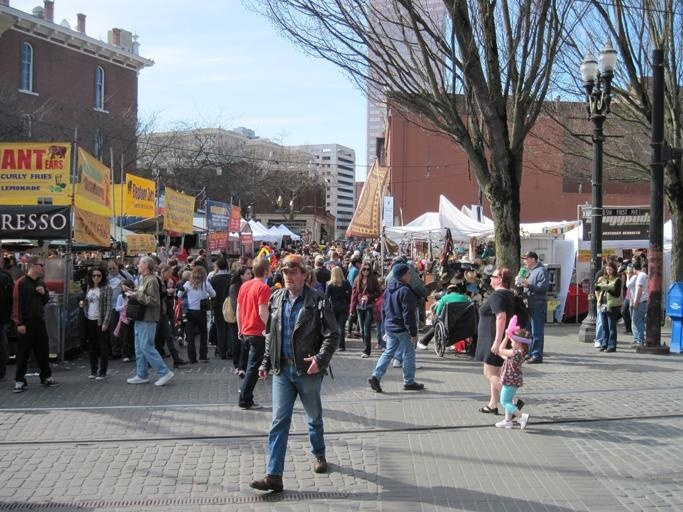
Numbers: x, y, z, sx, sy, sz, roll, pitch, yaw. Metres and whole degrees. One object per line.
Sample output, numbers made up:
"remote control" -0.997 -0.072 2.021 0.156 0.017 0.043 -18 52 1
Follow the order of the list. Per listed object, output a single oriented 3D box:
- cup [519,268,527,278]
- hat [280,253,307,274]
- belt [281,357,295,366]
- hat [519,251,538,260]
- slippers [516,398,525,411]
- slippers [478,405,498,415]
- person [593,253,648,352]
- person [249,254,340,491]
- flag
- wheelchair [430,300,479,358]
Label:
"cup" 3.909 0.382 18.816 0.091 0.165 0.149 10 8 33
"hat" -0.751 0.121 13.414 0.418 0.345 0.625 1 2 2
"belt" -0.727 1.460 11.849 0.101 0.076 0.141 8 -13 -24
"hat" 4.288 -0.009 19.992 0.356 0.207 0.241 0 -1 0
"slippers" 2.734 2.302 13.371 0.085 0.191 0.299 3 10 20
"slippers" 2.352 2.498 13.959 0.262 0.107 0.123 4 -4 16
"person" 6.195 1.078 19.377 0.816 2.843 0.938 0 0 25
"person" -0.577 1.553 11.869 1.083 3.082 1.008 -2 9 -10
"flag" 0.854 -1.516 26.811 0.981 3.715 1.240 3 6 4
"wheelchair" 2.380 1.606 18.171 0.794 1.217 0.878 2 2 -3
